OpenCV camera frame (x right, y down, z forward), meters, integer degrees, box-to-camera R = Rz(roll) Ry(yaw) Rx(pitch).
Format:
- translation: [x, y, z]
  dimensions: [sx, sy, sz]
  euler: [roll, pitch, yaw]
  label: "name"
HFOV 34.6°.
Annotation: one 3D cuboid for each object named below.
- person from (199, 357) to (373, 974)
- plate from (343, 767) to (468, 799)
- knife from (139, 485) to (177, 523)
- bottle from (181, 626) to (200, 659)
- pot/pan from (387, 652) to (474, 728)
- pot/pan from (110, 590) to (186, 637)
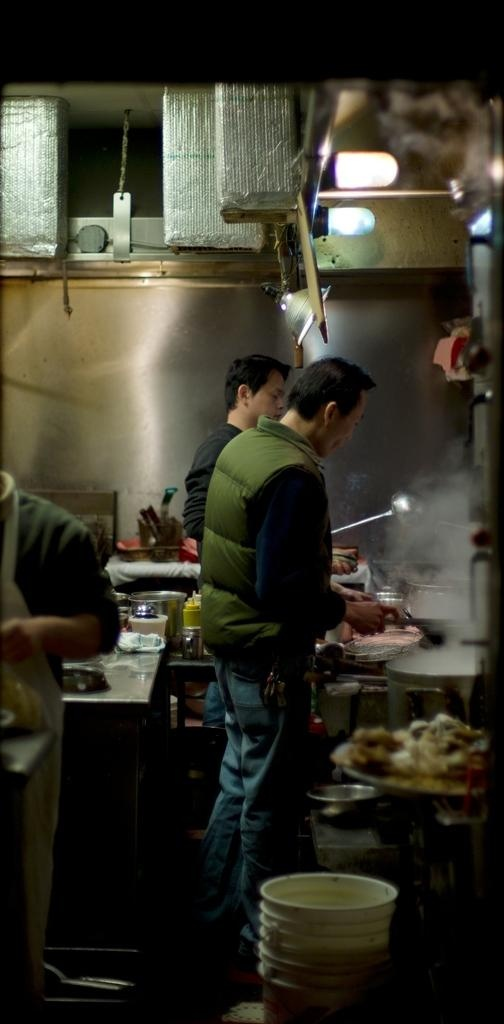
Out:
- translation: [0.055, 0.469, 2.408]
  dimensions: [0.384, 1.744, 0.519]
  euler: [5, 1, -20]
  label: "person"
- translation: [0.242, 0.423, 1.239]
  dimensions: [0.095, 0.020, 0.100]
  euler: [10, -8, -15]
  label: "plate"
- translation: [-0.677, -0.066, 5.849]
  dimensions: [0.202, 0.247, 0.687]
  euler: [7, 2, -5]
  label: "knife"
- translation: [-0.219, 0.488, 2.941]
  dimensions: [0.059, 0.113, 0.102]
  euler: [0, -1, 7]
  label: "bottle"
- translation: [0.342, 0.311, 1.508]
  dimensions: [0.124, 0.135, 0.171]
  euler: [-4, -6, 40]
  label: "pot/pan"
- translation: [-0.436, 0.396, 3.378]
  dimensions: [0.281, 0.214, 0.284]
  euler: [1, 0, -1]
  label: "pot/pan"
